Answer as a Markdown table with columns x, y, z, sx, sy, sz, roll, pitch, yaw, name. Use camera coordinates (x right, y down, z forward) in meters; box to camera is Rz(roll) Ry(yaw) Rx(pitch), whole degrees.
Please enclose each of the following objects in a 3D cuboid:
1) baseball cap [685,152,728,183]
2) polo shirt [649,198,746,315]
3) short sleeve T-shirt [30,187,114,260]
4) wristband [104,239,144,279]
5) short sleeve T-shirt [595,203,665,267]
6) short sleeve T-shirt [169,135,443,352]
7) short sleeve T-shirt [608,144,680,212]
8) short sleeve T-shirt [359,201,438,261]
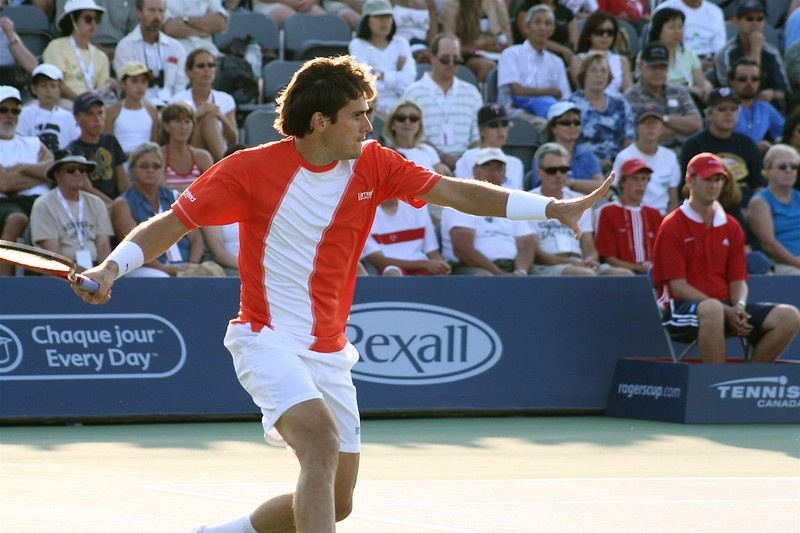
| x | y | z | sx | sy | sz | roll | pitch | yaw | name |
| --- | --- | --- | --- | --- | --- | --- | --- | --- | --- |
| 3.153 | -0.993 | 13.473 | 0.389 | 0.281 | 0.263 | 3 | 14 | 10 | baseball cap |
| 3.071 | -0.044 | 13.539 | 1.223 | 1.183 | 0.671 | 0 | -3 | -18 | polo shirt |
| -3.471 | -0.360 | 13.960 | 0.348 | 0.880 | 1.055 | -6 | -4 | 38 | short sleeve T-shirt |
| -2.136 | -0.036 | 10.329 | 0.307 | 0.214 | 0.203 | -38 | 3 | -20 | wristband |
| 2.733 | -0.410 | 14.934 | 0.954 | 0.761 | 0.330 | 0 | 32 | 24 | short sleeve T-shirt |
| -0.782 | -0.089 | 11.232 | 2.148 | 1.272 | 0.450 | 5 | -5 | -20 | short sleeve T-shirt |
| 2.881 | -0.995 | 15.369 | 0.866 | 0.948 | 0.520 | 1 | 1 | -16 | short sleeve T-shirt |
| 0.016 | -0.367 | 14.647 | 0.888 | 0.690 | 0.463 | -13 | 31 | 10 | short sleeve T-shirt |
